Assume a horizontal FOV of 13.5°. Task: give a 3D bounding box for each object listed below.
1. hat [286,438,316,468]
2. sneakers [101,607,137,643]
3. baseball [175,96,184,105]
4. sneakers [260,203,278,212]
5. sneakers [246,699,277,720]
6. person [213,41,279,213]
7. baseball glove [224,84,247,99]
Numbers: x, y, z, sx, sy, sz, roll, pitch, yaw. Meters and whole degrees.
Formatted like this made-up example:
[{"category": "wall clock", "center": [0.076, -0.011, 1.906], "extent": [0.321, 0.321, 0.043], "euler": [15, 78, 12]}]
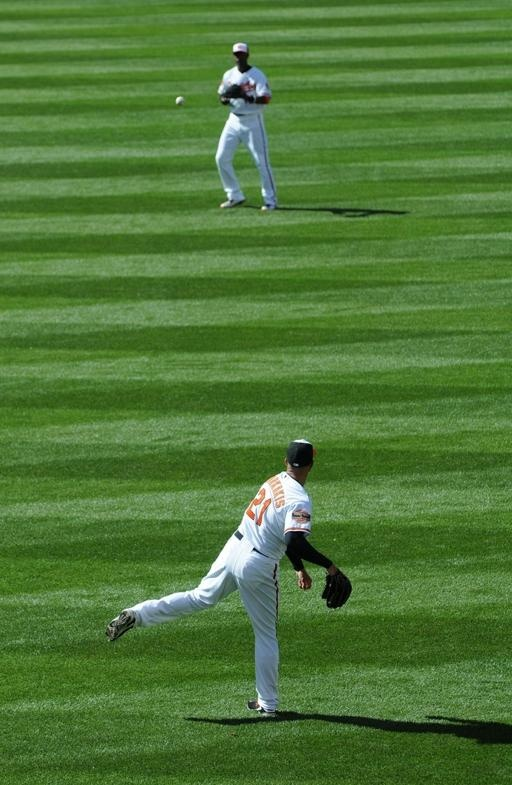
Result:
[{"category": "hat", "center": [0.321, 0.413, 14.349], "extent": [0.107, 0.138, 0.208], "euler": [5, 32, 7]}, {"category": "sneakers", "center": [-0.897, 1.584, 14.562], "extent": [0.261, 0.135, 0.145], "euler": [-40, 21, 8]}, {"category": "baseball", "center": [-0.814, -3.226, 23.972], "extent": [0.040, 0.082, 0.159], "euler": [0, -1, 3]}, {"category": "sneakers", "center": [0.144, -1.755, 20.890], "extent": [0.055, 0.089, 0.166], "euler": [0, -7, 28]}, {"category": "sneakers", "center": [0.059, 2.145, 14.408], "extent": [0.212, 0.113, 0.089], "euler": [37, 3, 20]}, {"category": "person", "center": [-0.094, -2.493, 20.857], "extent": [0.568, 1.638, 0.839], "euler": [-4, 30, -1]}, {"category": "baseball glove", "center": [-0.175, -2.824, 20.467], "extent": [0.241, 0.159, 0.056], "euler": [12, 33, 23]}]
